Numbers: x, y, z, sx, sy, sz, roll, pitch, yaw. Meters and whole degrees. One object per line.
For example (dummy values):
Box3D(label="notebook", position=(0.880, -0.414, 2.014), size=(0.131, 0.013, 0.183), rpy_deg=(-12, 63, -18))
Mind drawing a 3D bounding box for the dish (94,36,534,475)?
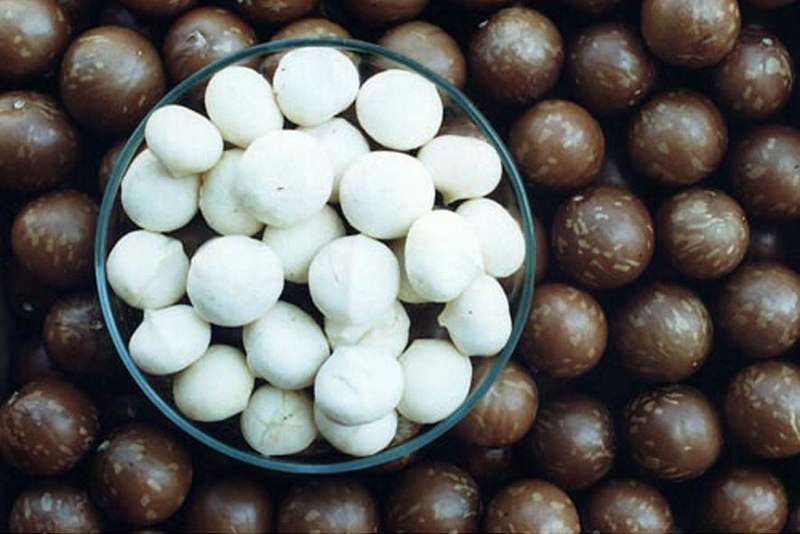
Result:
Box3D(label="dish", position=(-0.133, -0.020, 1.503), size=(0.695, 0.095, 0.680), rpy_deg=(-14, 85, -3))
